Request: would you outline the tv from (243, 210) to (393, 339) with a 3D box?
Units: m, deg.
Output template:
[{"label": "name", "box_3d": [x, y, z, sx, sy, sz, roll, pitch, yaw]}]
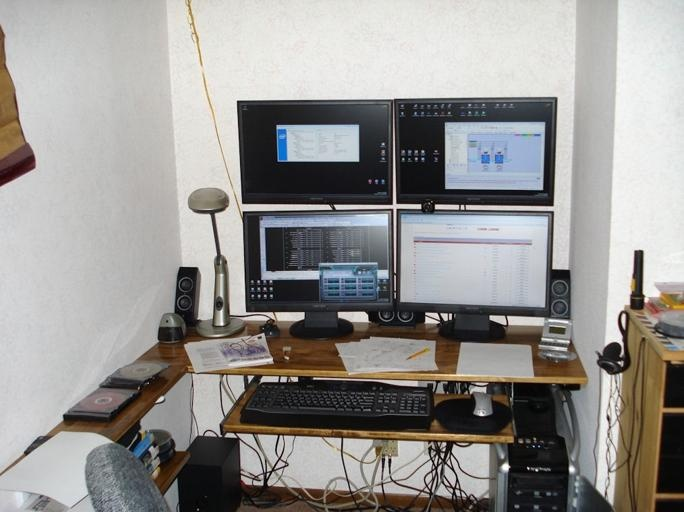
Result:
[{"label": "tv", "box_3d": [-0.110, 0.063, 2.672, 0.578, 0.462, 0.238, 0, 7, 2]}]

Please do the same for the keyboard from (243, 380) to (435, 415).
[{"label": "keyboard", "box_3d": [-0.017, 0.587, 2.352, 0.735, 0.058, 0.262, 0, 19, 12]}]

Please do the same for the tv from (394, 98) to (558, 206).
[{"label": "tv", "box_3d": [0.579, -0.462, 2.569, 0.685, 0.482, 0.038, -1, 11, 9]}]

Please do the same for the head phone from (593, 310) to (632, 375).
[{"label": "head phone", "box_3d": [1.078, 0.359, 2.290, 0.111, 0.258, 0.166, 5, 13, 18]}]

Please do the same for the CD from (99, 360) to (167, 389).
[{"label": "CD", "box_3d": [-0.829, 0.474, 2.316, 0.207, 0.070, 0.217, 4, 11, 10]}]

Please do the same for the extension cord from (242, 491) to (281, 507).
[{"label": "extension cord", "box_3d": [-0.426, 1.270, 3.031, 0.110, 0.029, 0.083, -1, -2, 21]}]

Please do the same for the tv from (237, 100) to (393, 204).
[{"label": "tv", "box_3d": [-0.123, -0.474, 2.648, 0.690, 0.475, 0.021, -2, 11, 5]}]

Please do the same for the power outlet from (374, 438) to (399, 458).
[{"label": "power outlet", "box_3d": [0.220, 0.970, 2.932, 0.144, 0.133, 0.034, 0, 2, -8]}]

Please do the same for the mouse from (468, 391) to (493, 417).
[{"label": "mouse", "box_3d": [0.538, 0.578, 2.293, 0.084, 0.095, 0.088, -2, 3, 7]}]

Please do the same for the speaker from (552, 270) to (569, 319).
[{"label": "speaker", "box_3d": [0.966, 0.167, 2.577, 0.079, 0.208, 0.079, 2, 12, 24]}]

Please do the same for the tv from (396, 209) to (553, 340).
[{"label": "tv", "box_3d": [0.646, 0.031, 2.914, 0.683, 0.580, 0.155, 4, 11, 11]}]

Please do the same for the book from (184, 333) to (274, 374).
[{"label": "book", "box_3d": [-0.484, 0.425, 2.513, 0.491, 0.093, 0.441, 1, 11, 1]}]
